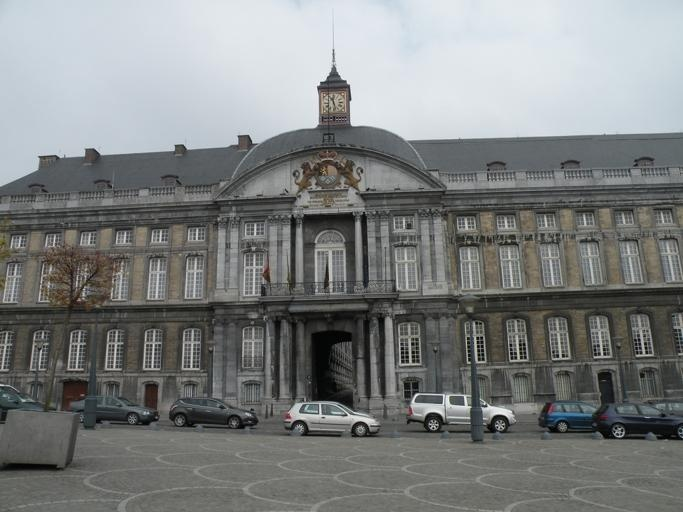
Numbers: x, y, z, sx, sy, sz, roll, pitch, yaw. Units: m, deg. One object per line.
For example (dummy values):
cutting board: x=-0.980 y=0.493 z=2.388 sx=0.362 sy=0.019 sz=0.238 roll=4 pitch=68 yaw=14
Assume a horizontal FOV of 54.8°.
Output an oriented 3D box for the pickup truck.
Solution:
pickup truck: x=6.572 y=9.023 z=38.257 sx=6.686 sy=2.053 sz=2.492 roll=4 pitch=-7 yaw=-11

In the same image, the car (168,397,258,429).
car: x=-7.749 y=9.481 z=40.027 sx=4.953 sy=1.410 sz=2.055 roll=-2 pitch=-13 yaw=7

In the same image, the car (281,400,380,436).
car: x=-0.665 y=8.714 z=35.134 sx=5.637 sy=1.709 sz=2.088 roll=-1 pitch=-8 yaw=6
